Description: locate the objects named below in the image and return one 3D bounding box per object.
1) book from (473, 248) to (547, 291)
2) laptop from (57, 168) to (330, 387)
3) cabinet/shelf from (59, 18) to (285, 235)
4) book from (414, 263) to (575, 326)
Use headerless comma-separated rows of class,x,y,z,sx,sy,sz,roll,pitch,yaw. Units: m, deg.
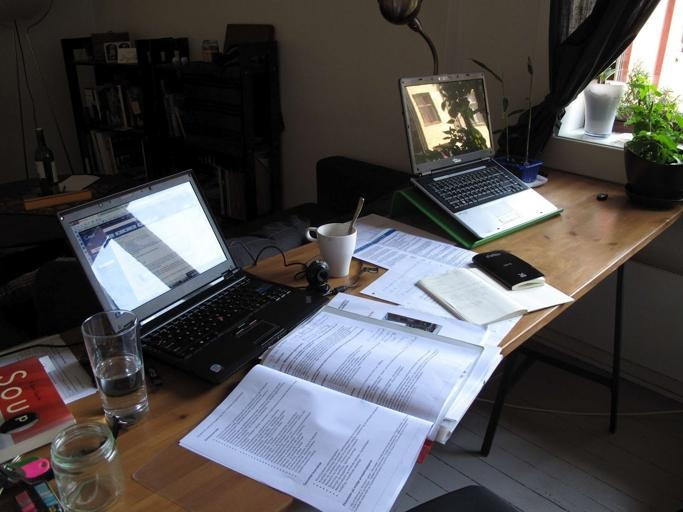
book,0.448,0.033,1.317,0.103,0.029,0.131,-11,31,-16
laptop,-0.412,0.101,1.220,0.342,0.491,0.470,-23,11,44
cabinet/shelf,-0.983,-0.861,2.949,1.705,1.522,0.540,14,28,34
book,0.353,0.101,1.227,0.216,0.024,0.158,-14,32,-24
